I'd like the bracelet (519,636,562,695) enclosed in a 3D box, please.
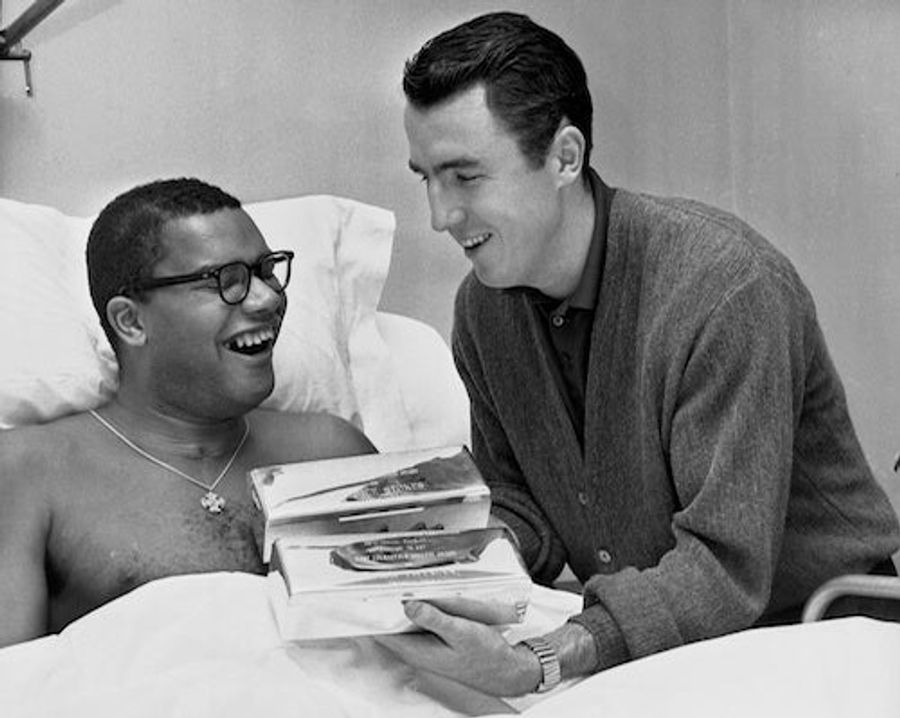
[{"bbox_3d":[0.119,0.404,1.239,0.040,0.064,0.057,-6,49,-37],"label":"bracelet"}]

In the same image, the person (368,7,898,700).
[{"bbox_3d":[0.357,-0.060,1.879,1.002,1.159,0.797,-15,2,-11],"label":"person"}]

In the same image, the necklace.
[{"bbox_3d":[-0.422,0.183,1.698,0.217,0.058,0.237,8,22,36],"label":"necklace"}]
